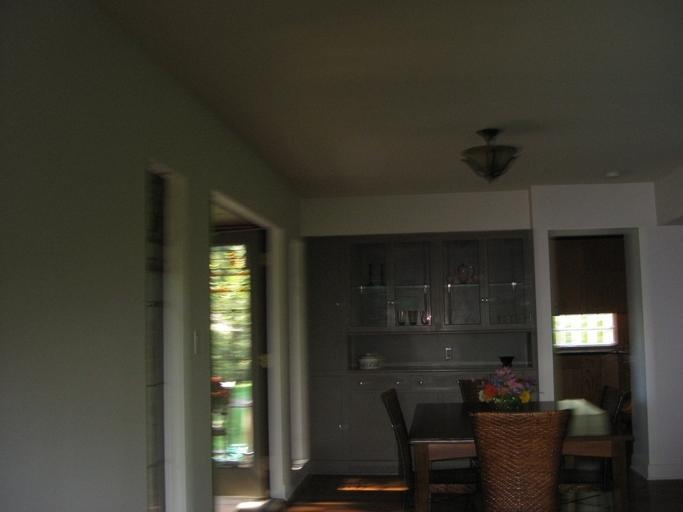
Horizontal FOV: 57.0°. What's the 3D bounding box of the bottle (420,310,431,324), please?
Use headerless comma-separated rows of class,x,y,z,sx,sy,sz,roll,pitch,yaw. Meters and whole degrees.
bottle,0.861,0.630,6.459,0.139,0.187,0.019,1,-2,7

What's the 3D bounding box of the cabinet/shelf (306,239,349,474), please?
cabinet/shelf,-0.136,0.954,6.386,0.419,2.316,0.134,-2,-9,-1

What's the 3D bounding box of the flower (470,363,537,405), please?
flower,1.170,0.905,4.457,0.383,0.283,0.396,-11,-14,37

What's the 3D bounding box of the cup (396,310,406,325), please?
cup,0.618,0.637,6.552,0.127,0.140,0.127,2,-7,0

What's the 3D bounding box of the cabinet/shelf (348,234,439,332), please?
cabinet/shelf,0.563,0.304,6.496,0.988,1.088,0.405,0,-5,2

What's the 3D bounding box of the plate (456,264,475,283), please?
plate,1.276,0.181,6.438,0.209,0.194,0.053,0,-2,10

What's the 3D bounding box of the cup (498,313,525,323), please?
cup,1.715,0.630,6.340,0.187,0.068,0.117,-1,-8,12

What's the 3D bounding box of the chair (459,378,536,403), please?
chair,1.138,0.982,4.607,0.330,0.151,0.413,1,-14,-2

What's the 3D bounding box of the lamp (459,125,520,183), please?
lamp,1.000,-0.675,4.245,0.406,0.358,0.412,-2,-7,16

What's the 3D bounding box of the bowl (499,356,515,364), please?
bowl,1.337,0.846,5.089,0.081,0.073,0.226,-4,-11,9
